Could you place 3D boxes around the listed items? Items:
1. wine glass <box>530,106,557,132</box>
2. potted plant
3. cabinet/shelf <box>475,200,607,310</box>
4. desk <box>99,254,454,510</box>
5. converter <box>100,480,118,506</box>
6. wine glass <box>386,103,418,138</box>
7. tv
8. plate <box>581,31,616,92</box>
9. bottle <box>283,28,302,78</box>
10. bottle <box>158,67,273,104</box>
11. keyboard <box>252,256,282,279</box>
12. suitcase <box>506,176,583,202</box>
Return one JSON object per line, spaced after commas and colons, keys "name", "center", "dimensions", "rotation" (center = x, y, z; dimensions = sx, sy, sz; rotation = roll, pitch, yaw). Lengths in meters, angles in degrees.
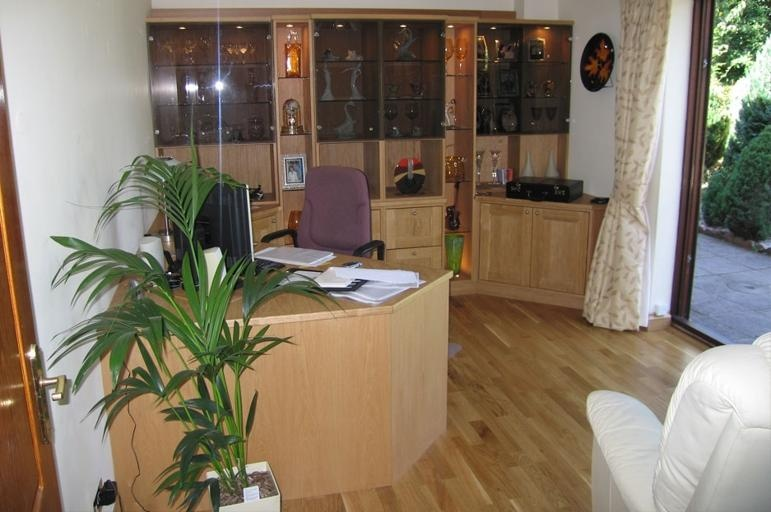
{"name": "wine glass", "center": [1.646, -1.446, 5.767], "dimensions": [0.238, 0.239, 0.082], "rotation": [-1, 9, -7]}
{"name": "potted plant", "center": [-1.114, 0.405, 2.906], "dimensions": [0.986, 2.056, 1.529], "rotation": [-9, 15, -25]}
{"name": "cabinet/shelf", "center": [1.634, -0.109, 5.772], "dimensions": [1.197, 1.047, 0.695], "rotation": [8, 18, 32]}
{"name": "desk", "center": [-0.374, 0.504, 3.691], "dimensions": [1.410, 0.850, 1.439], "rotation": [-2, 18, -10]}
{"name": "converter", "center": [-1.433, 1.229, 2.844], "dimensions": [0.076, 0.116, 0.116], "rotation": [1, -4, -11]}
{"name": "wine glass", "center": [0.150, -1.353, 5.467], "dimensions": [0.295, 0.306, 0.165], "rotation": [-2, 10, -8]}
{"name": "tv", "center": [-0.974, -0.107, 3.047], "dimensions": [0.512, 0.551, 0.185], "rotation": [14, 22, 29]}
{"name": "plate", "center": [2.085, -1.897, 5.413], "dimensions": [0.057, 0.442, 0.436], "rotation": [-2, 41, -23]}
{"name": "bottle", "center": [-0.898, -1.969, 5.351], "dimensions": [0.177, 0.447, 0.094], "rotation": [-4, 14, -7]}
{"name": "bottle", "center": [-1.631, -1.616, 5.190], "dimensions": [1.073, 0.333, 0.064], "rotation": [-4, 14, -8]}
{"name": "keyboard", "center": [-0.761, 0.048, 3.608], "dimensions": [0.173, 0.057, 0.179], "rotation": [7, 16, 28]}
{"name": "suitcase", "center": [1.612, -0.672, 5.576], "dimensions": [0.734, 0.208, 0.427], "rotation": [3, 15, 20]}
